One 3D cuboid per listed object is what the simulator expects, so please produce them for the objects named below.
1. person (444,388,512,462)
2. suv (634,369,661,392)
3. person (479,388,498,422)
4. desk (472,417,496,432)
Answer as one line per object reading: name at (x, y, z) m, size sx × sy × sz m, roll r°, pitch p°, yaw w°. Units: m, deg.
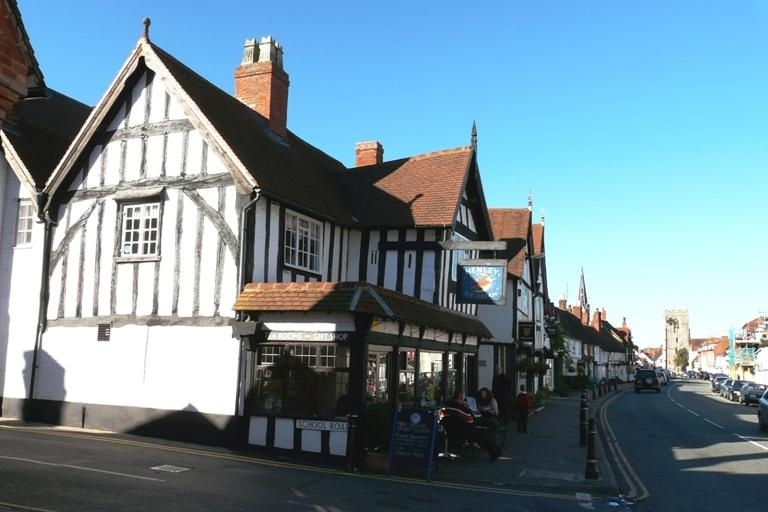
person at (2.573, 5.160, 22.212) m, size 1.591 × 2.007 × 0.943 m, roll 9°, pitch -15°, yaw -35°
suv at (21.009, 10.139, 58.827) m, size 1.342 × 1.193 × 2.357 m, roll -1°, pitch -2°, yaw 17°
person at (3.429, 4.959, 24.203) m, size 0.721 × 1.178 × 0.831 m, roll -10°, pitch -23°, yaw 15°
desk at (3.192, 5.264, 22.918) m, size 0.743 × 0.363 × 0.543 m, roll 6°, pitch -10°, yaw 2°
